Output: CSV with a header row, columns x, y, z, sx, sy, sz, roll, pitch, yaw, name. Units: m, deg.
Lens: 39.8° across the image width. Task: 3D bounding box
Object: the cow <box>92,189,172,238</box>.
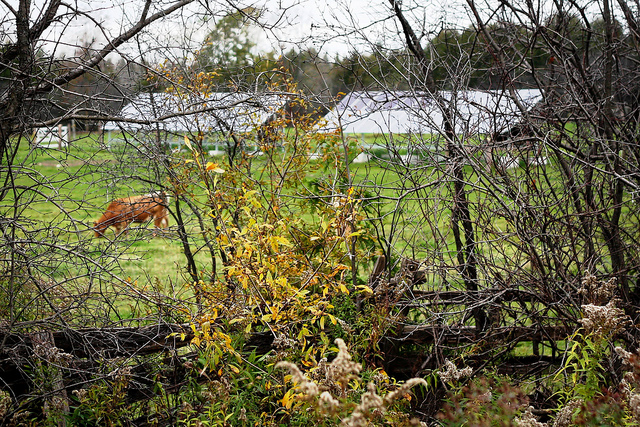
x,y,z,sx,sy,sz,roll,pitch,yaw,name
-2.397,0.057,11.327,1.038,0.606,0.276,-5,11,-36,cow
